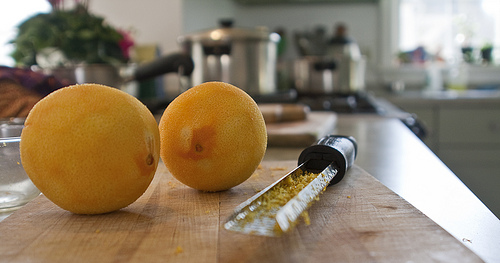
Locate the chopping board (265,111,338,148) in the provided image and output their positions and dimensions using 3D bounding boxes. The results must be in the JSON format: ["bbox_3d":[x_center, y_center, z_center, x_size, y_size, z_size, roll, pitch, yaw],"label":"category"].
[{"bbox_3d":[0.179,-0.023,1.422,0.226,0.084,0.440,0,18,14],"label":"chopping board"}]

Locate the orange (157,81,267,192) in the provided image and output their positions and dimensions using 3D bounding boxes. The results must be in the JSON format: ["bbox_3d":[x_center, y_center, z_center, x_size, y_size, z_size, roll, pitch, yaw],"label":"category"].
[{"bbox_3d":[-0.078,0.007,0.909,0.233,0.228,0.213,-17,8,3],"label":"orange"}]

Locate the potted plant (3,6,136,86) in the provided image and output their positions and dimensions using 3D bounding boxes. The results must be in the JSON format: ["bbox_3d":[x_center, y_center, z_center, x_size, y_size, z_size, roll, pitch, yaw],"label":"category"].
[{"bbox_3d":[-0.718,-0.364,1.650,0.528,0.276,0.529,-3,-3,-18],"label":"potted plant"}]

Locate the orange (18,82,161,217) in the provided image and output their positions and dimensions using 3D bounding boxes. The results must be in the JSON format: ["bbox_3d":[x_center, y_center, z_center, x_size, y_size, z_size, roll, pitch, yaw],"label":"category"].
[{"bbox_3d":[-0.295,0.034,0.775,0.242,0.231,0.085,-3,19,3],"label":"orange"}]
